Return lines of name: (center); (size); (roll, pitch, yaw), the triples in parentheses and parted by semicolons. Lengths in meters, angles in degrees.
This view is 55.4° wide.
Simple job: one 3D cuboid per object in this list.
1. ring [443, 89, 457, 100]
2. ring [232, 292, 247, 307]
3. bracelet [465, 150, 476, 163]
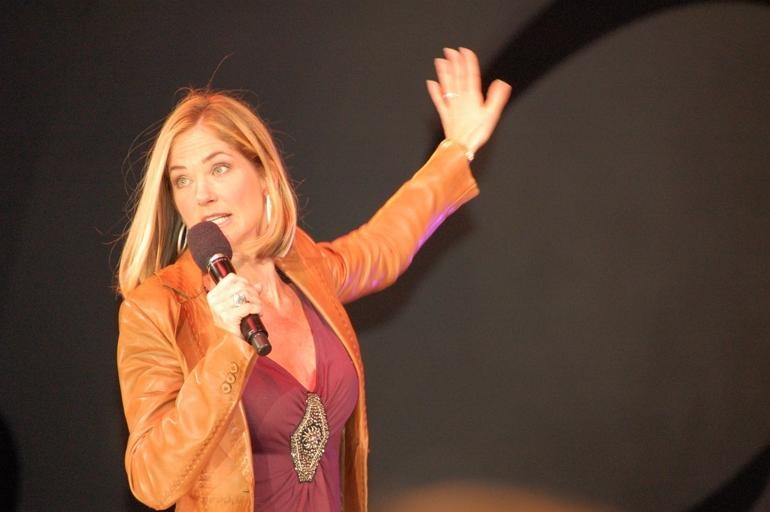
ring: (0.292, -0.705, 3.185); (0.048, 0.032, 0.016); (2, 6, -20)
ring: (-0.439, 0.130, 2.226); (0.027, 0.035, 0.012); (-33, 11, -9)
bracelet: (0.373, -0.431, 3.204); (0.034, 0.053, 0.017); (-7, -6, -25)
